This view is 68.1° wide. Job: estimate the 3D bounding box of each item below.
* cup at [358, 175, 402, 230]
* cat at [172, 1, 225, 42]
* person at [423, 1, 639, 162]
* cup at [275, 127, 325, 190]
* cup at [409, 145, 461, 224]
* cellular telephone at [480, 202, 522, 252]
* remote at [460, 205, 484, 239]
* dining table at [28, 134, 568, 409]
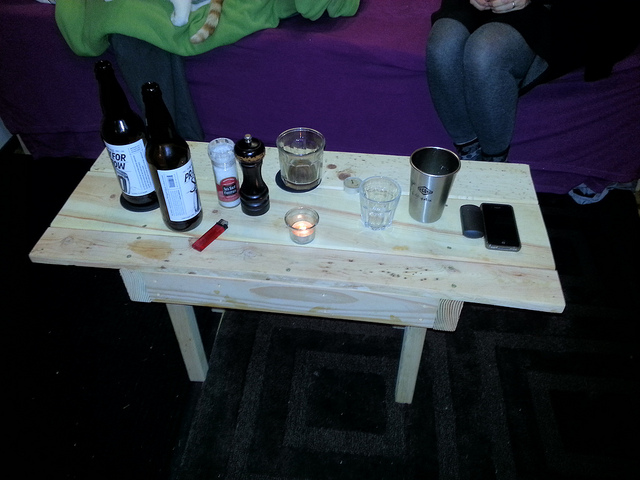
[{"bbox_3d":[0.152,-0.119,1.365,0.146,0.131,0.152,0,39,0],"label":"cup"},{"bbox_3d":[-0.478,-0.889,1.898,0.162,0.120,0.187,34,56,30],"label":"cat"},{"bbox_3d":[0.723,-0.658,1.962,0.745,0.239,0.718,2,91,1],"label":"person"},{"bbox_3d":[-0.062,-0.241,1.433,0.136,0.130,0.136,-1,49,1],"label":"cup"},{"bbox_3d":[0.302,-0.132,1.322,0.131,0.153,0.119,3,27,-1],"label":"cup"},{"bbox_3d":[0.492,-0.041,1.306,0.094,0.019,0.153,5,54,1],"label":"cellular telephone"},{"bbox_3d":[0.415,-0.048,1.297,0.069,0.061,0.099,-3,48,9],"label":"remote"},{"bbox_3d":[-0.006,0.295,1.718,1.706,0.815,0.682,4,59,2],"label":"dining table"}]
